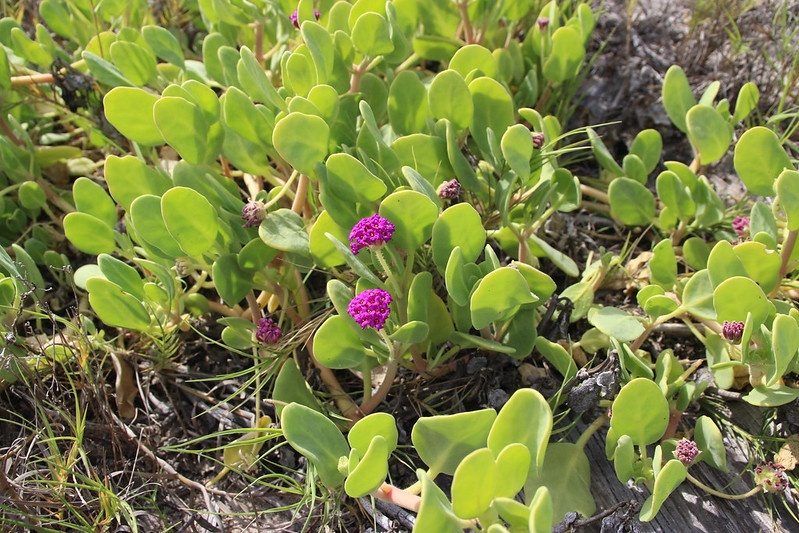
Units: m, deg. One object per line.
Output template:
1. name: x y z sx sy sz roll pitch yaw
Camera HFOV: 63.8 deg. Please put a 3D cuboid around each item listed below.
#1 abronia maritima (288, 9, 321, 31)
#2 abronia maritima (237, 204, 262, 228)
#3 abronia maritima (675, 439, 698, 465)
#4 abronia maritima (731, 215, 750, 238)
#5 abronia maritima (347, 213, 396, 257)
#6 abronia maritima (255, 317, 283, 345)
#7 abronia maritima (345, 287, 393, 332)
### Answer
1. abronia maritima: -0.343 -0.890 2.328 0.103 0.108 0.050 -7 36 -25
2. abronia maritima: -0.444 -0.151 1.943 0.059 0.082 0.078 4 4 2
3. abronia maritima: 0.811 0.525 1.814 0.059 0.055 0.073 3 43 8
4. abronia maritima: 1.208 -0.135 2.294 0.059 0.038 0.083 11 71 -33
5. abronia maritima: -0.073 -0.097 1.828 0.070 0.099 0.108 51 20 -28
6. abronia maritima: -0.418 0.209 2.027 0.090 0.078 0.059 19 44 2
7. abronia maritima: -0.081 0.121 1.825 0.107 0.116 0.116 -24 12 6
